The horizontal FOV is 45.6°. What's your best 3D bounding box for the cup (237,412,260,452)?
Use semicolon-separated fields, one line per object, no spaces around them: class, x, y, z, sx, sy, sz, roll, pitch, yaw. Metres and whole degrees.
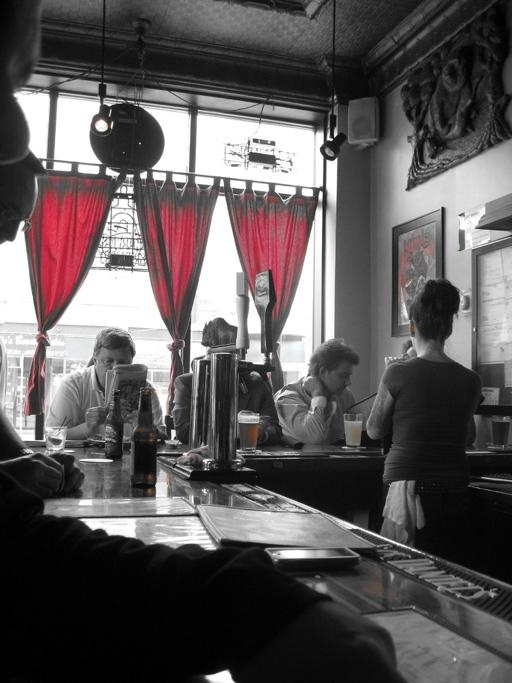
cup;-0.033;0.338;2.272;0.073;0.155;0.125;1;2;-2

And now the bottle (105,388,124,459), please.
bottle;-0.483;0.271;2.060;0.054;0.242;0.256;1;3;-15

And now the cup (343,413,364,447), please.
cup;0.409;0.383;2.628;0.088;0.205;0.108;1;-10;1

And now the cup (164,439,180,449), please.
cup;-0.351;0.427;2.517;0.047;0.030;0.049;5;-3;0

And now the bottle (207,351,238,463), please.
bottle;-0.088;0.178;1.584;0.073;0.299;0.130;1;2;-5

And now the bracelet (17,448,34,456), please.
bracelet;-0.522;0.258;1.393;0.028;0.013;0.045;3;6;-8

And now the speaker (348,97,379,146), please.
speaker;0.970;-1.990;5.514;0.281;0.596;0.256;-1;-3;5

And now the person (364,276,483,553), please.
person;0.582;0.247;2.126;0.334;0.920;0.300;1;2;-17
